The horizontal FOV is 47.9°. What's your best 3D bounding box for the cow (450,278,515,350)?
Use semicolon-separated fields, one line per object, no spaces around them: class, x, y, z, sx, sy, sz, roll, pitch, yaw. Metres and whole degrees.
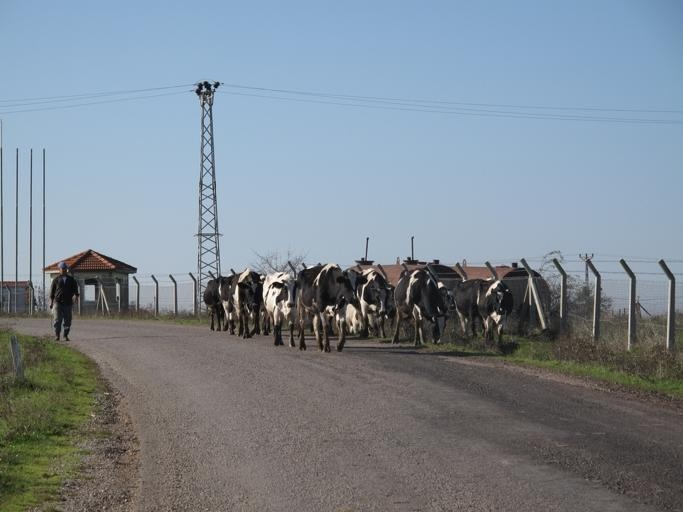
cow;4.644;1.799;25.711;1.042;1.974;3.337;0;0;-16

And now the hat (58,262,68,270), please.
hat;-9.719;0.362;27.052;0.394;0.387;0.676;-1;3;-18
